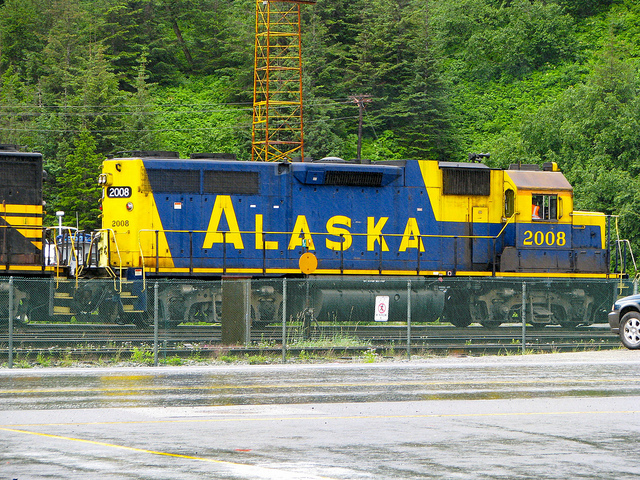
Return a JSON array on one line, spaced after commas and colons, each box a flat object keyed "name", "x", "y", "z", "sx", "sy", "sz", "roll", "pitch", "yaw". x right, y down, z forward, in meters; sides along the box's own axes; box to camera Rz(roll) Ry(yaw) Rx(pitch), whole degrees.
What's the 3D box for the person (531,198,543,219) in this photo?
[{"name": "person", "x": 11.984, "y": -1.795, "z": 89.284, "sx": 0.718, "sy": 0.979, "sz": 0.276, "roll": -2, "pitch": 2, "yaw": -4}]
